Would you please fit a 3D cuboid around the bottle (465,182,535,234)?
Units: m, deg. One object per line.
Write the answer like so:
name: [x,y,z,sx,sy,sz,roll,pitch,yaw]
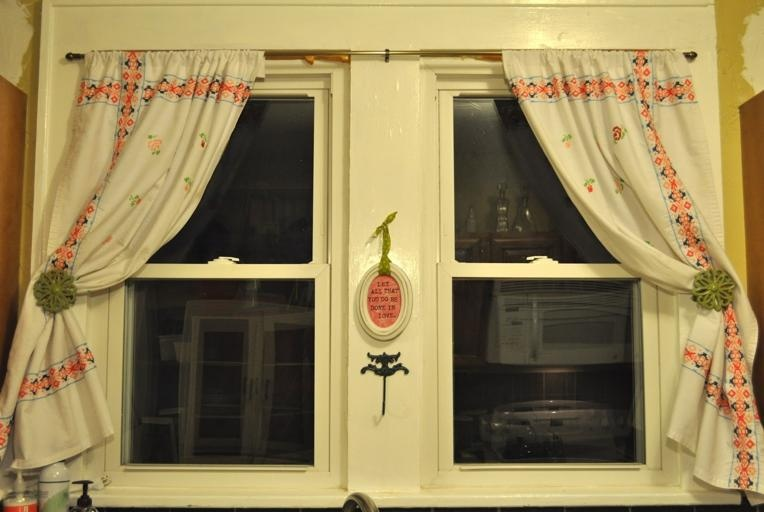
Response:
bottle: [0.489,-0.194,4.869,0.277,0.201,0.031,0,-4,-6]
